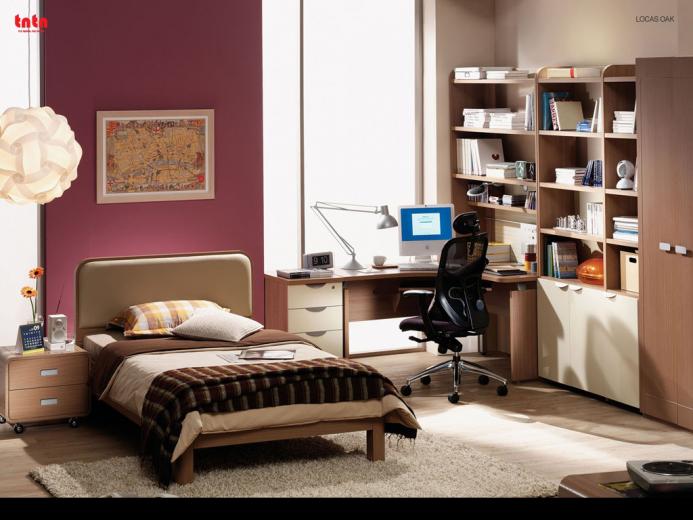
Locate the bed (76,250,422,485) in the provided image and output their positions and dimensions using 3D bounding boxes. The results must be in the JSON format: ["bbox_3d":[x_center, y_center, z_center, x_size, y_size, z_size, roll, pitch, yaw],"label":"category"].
[{"bbox_3d":[-1.075,0.368,4.567,1.631,1.091,2.370,-3,7,-26],"label":"bed"}]

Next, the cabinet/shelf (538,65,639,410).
[{"bbox_3d":[2.293,-0.296,5.229,0.502,3.078,1.151,-2,5,-21],"label":"cabinet/shelf"}]

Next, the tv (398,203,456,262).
[{"bbox_3d":[0.862,-0.300,6.061,0.635,0.634,0.228,0,1,-3],"label":"tv"}]

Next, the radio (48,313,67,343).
[{"bbox_3d":[-2.395,0.566,4.674,0.170,0.296,0.223,0,2,-29],"label":"radio"}]

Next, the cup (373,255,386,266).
[{"bbox_3d":[0.373,0.005,6.229,0.111,0.087,0.109,-3,8,0],"label":"cup"}]

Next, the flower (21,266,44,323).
[{"bbox_3d":[-2.668,0.298,4.804,0.209,0.450,0.159,-3,-9,-9],"label":"flower"}]
